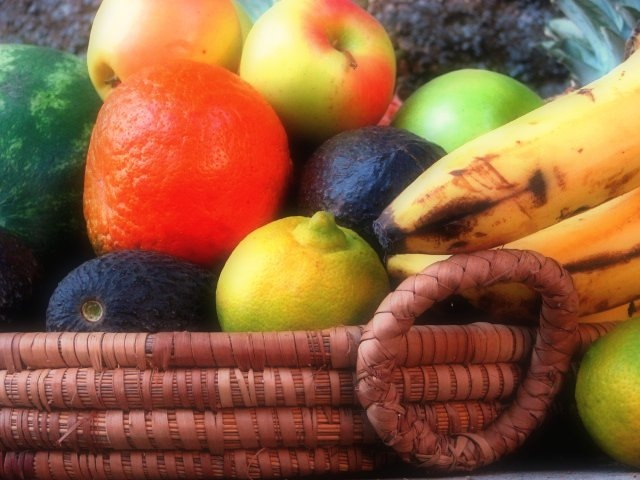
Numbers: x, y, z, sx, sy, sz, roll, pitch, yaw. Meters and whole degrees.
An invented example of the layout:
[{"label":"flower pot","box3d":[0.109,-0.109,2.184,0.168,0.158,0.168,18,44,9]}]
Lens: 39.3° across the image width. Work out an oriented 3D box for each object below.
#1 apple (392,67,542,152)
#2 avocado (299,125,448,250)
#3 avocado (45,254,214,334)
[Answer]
[{"label":"apple","box3d":[0.218,-0.219,1.399,0.157,0.181,0.150,-9,114,-23]},{"label":"avocado","box3d":[0.057,-0.100,1.229,0.196,0.254,0.164,-9,104,-21]},{"label":"avocado","box3d":[-0.245,0.074,1.135,0.171,0.174,0.111,-8,104,-21]}]
